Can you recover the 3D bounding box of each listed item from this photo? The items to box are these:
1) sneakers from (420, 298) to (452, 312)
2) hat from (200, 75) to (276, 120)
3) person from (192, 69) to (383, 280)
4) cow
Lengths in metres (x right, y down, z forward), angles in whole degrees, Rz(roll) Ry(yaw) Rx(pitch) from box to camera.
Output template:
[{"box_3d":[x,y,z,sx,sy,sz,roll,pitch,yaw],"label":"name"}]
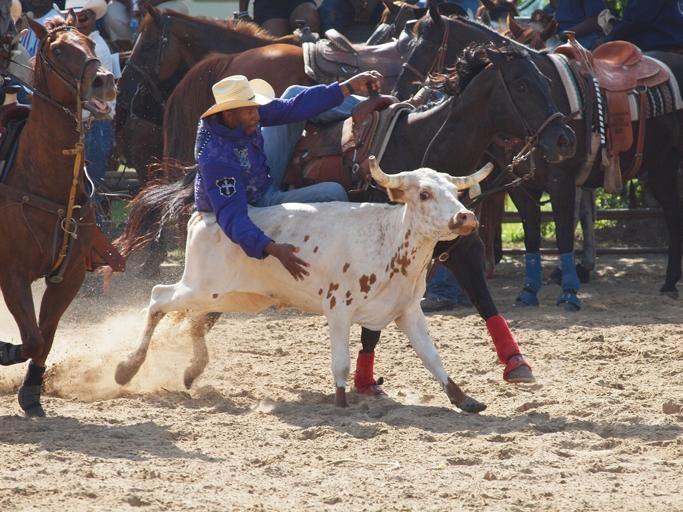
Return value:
[{"box_3d":[0.831,0.429,11.555,0.324,0.137,0.107,7,-2,-18],"label":"sneakers"},{"box_3d":[-0.727,-1.132,8.985,0.490,0.201,0.401,-17,13,15],"label":"hat"},{"box_3d":[-0.360,-0.521,9.060,0.755,1.174,1.066,-3,-35,4],"label":"person"},{"box_3d":[-0.131,0.148,8.920,2.235,1.719,0.470,3,14,14],"label":"cow"}]
